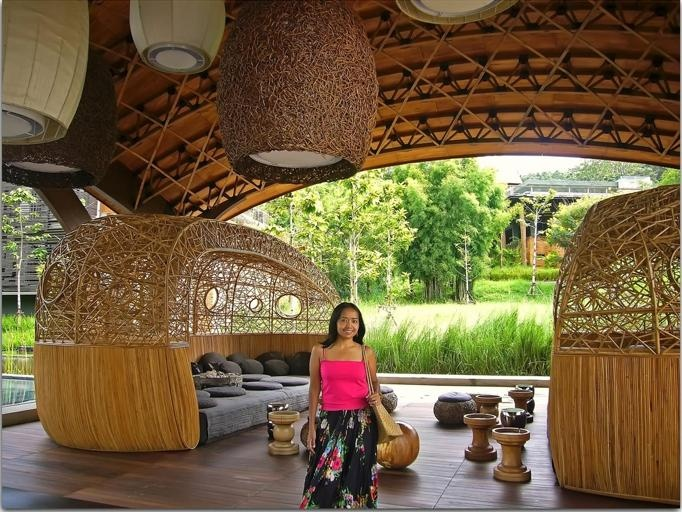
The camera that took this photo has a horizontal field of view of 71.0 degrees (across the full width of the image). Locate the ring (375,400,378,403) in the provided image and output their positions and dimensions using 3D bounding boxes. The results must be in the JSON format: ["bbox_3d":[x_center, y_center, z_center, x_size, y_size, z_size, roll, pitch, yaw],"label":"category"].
[{"bbox_3d":[0.245,0.986,3.262,0.024,0.019,0.002,1,-5,-10],"label":"ring"}]

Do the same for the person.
[{"bbox_3d":[0.009,1.027,3.346,0.535,1.393,0.249,-1,-5,3],"label":"person"}]

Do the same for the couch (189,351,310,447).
[{"bbox_3d":[-1.355,2.121,7.264,1.738,0.751,2.646,0,-5,-5],"label":"couch"}]
